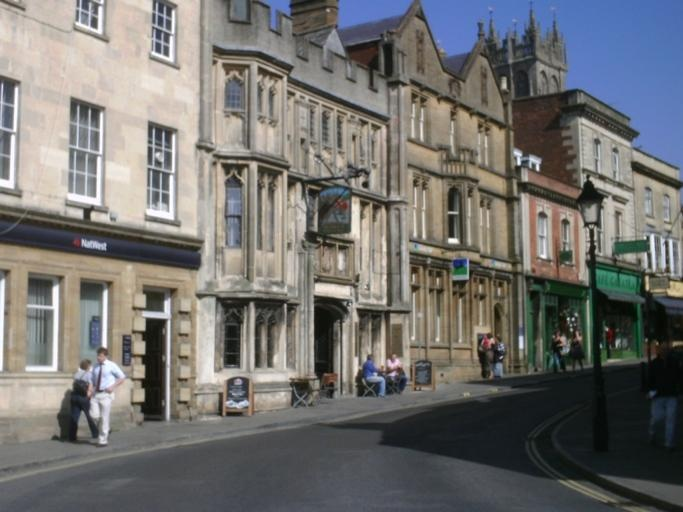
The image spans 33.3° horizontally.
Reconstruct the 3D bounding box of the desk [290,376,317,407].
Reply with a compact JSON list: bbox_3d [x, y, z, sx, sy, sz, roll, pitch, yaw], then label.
[{"bbox_3d":[-1.213,4.491,37.966,0.530,1.100,1.832,-5,-12,21],"label":"desk"}]

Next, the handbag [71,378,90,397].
[{"bbox_3d":[-6.825,3.421,29.580,0.619,0.496,0.352,-11,-20,33],"label":"handbag"}]

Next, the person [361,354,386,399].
[{"bbox_3d":[1.187,4.399,41.911,0.811,1.497,1.235,-1,-11,1],"label":"person"}]

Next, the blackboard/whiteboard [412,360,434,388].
[{"bbox_3d":[3.071,4.438,43.238,0.825,1.300,0.837,4,-12,-25],"label":"blackboard/whiteboard"}]

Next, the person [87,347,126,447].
[{"bbox_3d":[-6.045,3.569,29.168,0.711,2.540,1.438,3,-11,-19],"label":"person"}]

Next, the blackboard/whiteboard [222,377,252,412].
[{"bbox_3d":[-3.169,4.307,34.756,0.913,1.374,0.796,2,-25,-5],"label":"blackboard/whiteboard"}]
